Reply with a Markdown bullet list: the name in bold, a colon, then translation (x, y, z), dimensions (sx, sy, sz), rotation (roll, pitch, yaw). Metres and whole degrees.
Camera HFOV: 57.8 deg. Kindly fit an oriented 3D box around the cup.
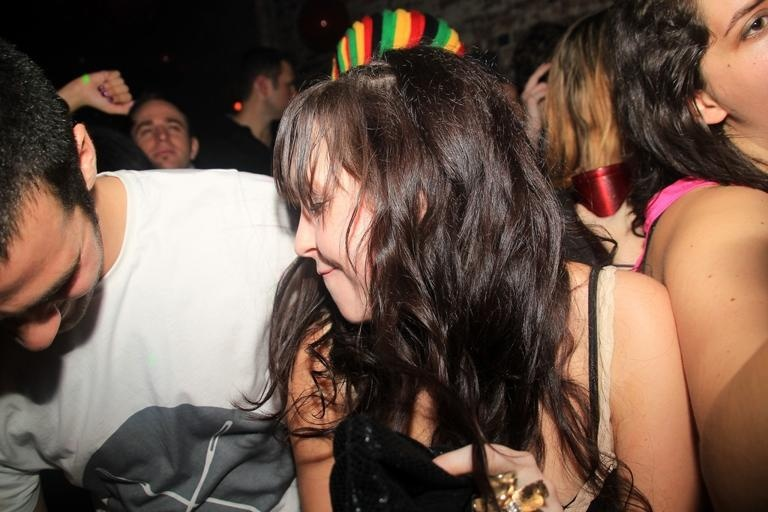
- **cup**: translation (0.766, -0.239, 2.485), dimensions (0.161, 0.159, 0.191), rotation (-20, 15, -10)
